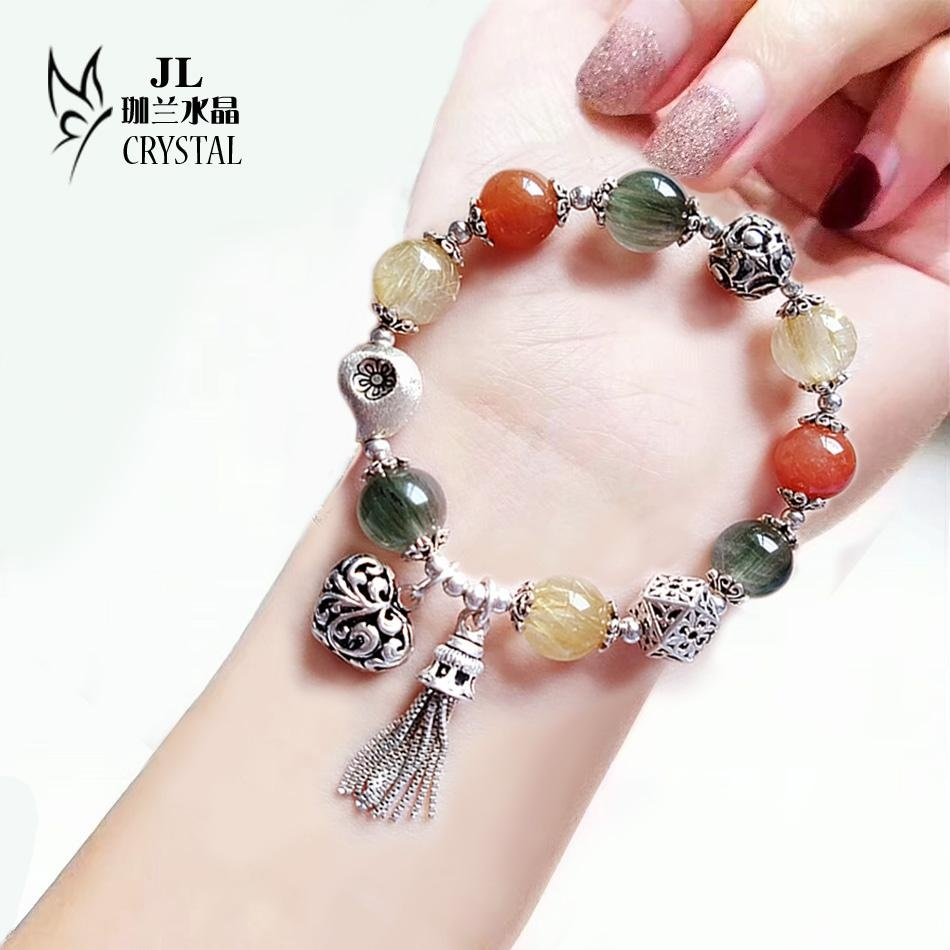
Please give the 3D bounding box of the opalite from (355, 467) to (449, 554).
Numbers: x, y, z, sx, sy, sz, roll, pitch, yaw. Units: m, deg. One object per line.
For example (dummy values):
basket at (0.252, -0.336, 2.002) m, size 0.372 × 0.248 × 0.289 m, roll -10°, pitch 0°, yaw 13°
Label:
opalite at (-0.091, 0.035, 1.309) m, size 0.109 × 0.131 × 0.102 m, roll -8°, pitch 15°, yaw -4°

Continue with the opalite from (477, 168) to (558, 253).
opalite at (0.054, -0.337, 1.332) m, size 0.098 × 0.118 × 0.096 m, roll 5°, pitch 11°, yaw 17°

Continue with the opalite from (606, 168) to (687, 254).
opalite at (0.215, -0.334, 1.322) m, size 0.099 × 0.099 × 0.062 m, roll 13°, pitch 22°, yaw 6°

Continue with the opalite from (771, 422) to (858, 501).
opalite at (0.428, -0.021, 1.337) m, size 0.099 × 0.103 × 0.097 m, roll 3°, pitch 6°, yaw 10°

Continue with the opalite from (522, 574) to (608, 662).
opalite at (0.108, 0.177, 1.275) m, size 0.086 × 0.061 × 0.105 m, roll -18°, pitch 59°, yaw -11°

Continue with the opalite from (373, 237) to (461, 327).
opalite at (-0.075, -0.243, 1.332) m, size 0.099 × 0.106 × 0.057 m, roll 11°, pitch 7°, yaw -6°

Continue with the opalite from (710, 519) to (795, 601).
opalite at (0.349, 0.103, 1.319) m, size 0.094 × 0.113 × 0.099 m, roll 2°, pitch 7°, yaw 11°

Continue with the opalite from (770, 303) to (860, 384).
opalite at (0.436, -0.172, 1.381) m, size 0.096 × 0.115 × 0.104 m, roll 3°, pitch 2°, yaw 6°
